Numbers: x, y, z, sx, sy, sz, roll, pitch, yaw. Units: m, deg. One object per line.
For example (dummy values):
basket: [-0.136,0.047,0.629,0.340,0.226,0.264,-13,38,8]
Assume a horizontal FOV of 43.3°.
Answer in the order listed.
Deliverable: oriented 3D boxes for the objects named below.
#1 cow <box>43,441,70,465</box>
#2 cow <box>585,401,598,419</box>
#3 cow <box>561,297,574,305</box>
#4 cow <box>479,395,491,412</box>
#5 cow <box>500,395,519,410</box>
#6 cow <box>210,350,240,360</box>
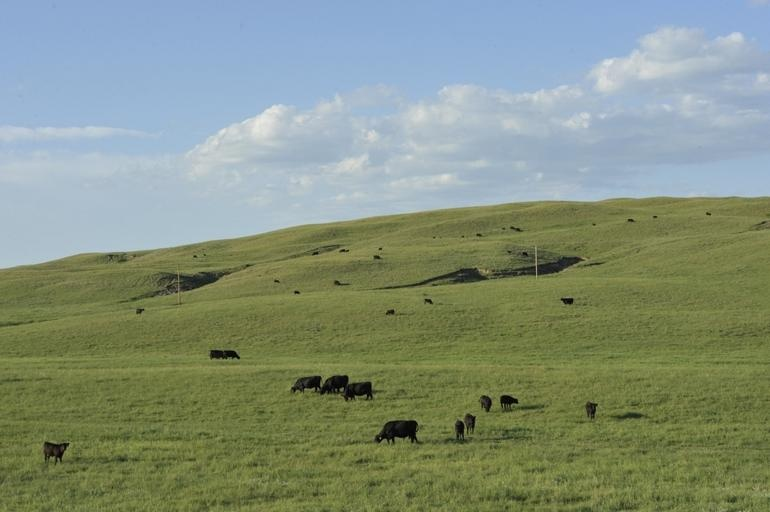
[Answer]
cow: [-25.798,15.380,75.875,1.914,1.741,0.948,-6,0,-11]
cow: [17.000,12.627,79.580,1.016,1.447,1.316,-6,0,15]
cow: [20.374,4.982,107.424,1.341,0.840,2.285,-6,-1,10]
cow: [8.565,12.376,81.344,0.972,1.417,1.483,-6,0,3]
cow: [10.530,12.241,81.249,1.528,1.245,0.808,-6,0,-11]
cow: [-16.081,9.893,97.338,3.245,1.052,2.691,-6,-1,2]
